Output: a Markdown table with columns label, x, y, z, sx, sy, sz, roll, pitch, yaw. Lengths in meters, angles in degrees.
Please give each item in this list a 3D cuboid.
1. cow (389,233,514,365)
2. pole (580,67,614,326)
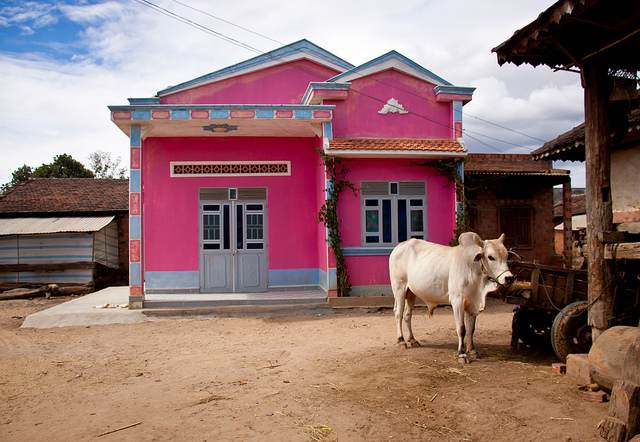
| label | x | y | z | sx | sy | sz | roll | pitch | yaw |
| --- | --- | --- | --- | --- | --- | --- | --- | --- | --- |
| cow | 2.381 | 1.352 | 9.202 | 0.987 | 2.223 | 2.783 | 4 | -6 | -31 |
| pole | 4.393 | -0.609 | 8.002 | 0.441 | 3.675 | 0.764 | 0 | 7 | 17 |
